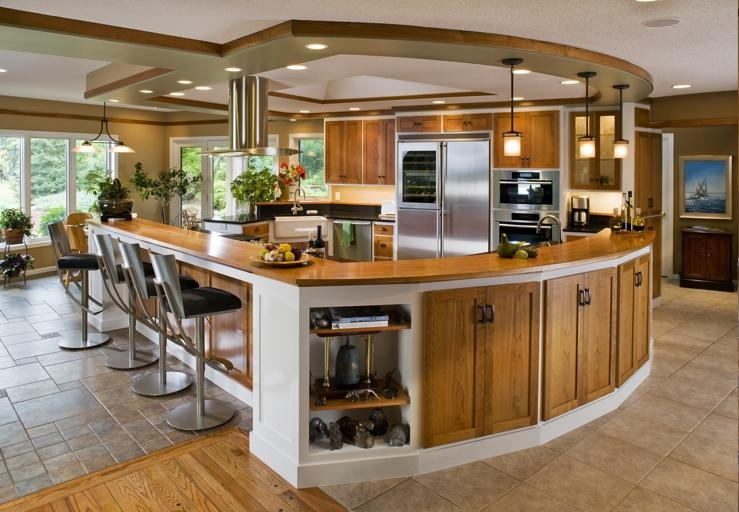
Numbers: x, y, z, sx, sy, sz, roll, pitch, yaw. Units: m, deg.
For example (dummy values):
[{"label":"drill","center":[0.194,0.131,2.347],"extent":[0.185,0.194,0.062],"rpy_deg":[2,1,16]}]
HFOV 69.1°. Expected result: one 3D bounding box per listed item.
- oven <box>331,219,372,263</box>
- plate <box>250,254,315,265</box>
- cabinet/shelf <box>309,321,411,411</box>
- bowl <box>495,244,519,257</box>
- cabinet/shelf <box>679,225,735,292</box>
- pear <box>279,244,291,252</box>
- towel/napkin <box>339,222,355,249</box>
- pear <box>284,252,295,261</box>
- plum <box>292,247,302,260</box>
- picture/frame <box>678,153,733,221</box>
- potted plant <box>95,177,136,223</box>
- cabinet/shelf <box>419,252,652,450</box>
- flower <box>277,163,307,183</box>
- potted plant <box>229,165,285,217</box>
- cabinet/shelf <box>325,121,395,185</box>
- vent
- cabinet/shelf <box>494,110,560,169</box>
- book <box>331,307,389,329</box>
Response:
[{"label":"oven","center":[-0.252,-0.282,9.217],"extent":[0.749,0.611,0.560],"rpy_deg":[5,13,20]},{"label":"plate","center":[-0.671,0.036,4.180],"extent":[0.477,0.079,0.239],"rpy_deg":[-2,8,-12]},{"label":"cabinet/shelf","center":[-0.238,0.784,4.181],"extent":[0.729,0.490,0.520],"rpy_deg":[3,-5,-4]},{"label":"bowl","center":[1.135,-0.049,4.441],"extent":[0.169,0.139,0.104],"rpy_deg":[-3,6,10]},{"label":"cabinet/shelf","center":[5.331,0.056,8.494],"extent":[0.727,0.934,0.232],"rpy_deg":[7,13,37]},{"label":"pear","center":[-0.648,-0.060,4.133],"extent":[0.092,0.056,0.096],"rpy_deg":[-1,9,-7]},{"label":"towel/napkin","center":[-0.364,-0.359,9.001],"extent":[0.209,0.420,0.115],"rpy_deg":[0,10,0]},{"label":"pear","center":[-0.611,0.004,4.084],"extent":[0.069,0.059,0.067],"rpy_deg":[-6,5,-32]},{"label":"plum","center":[-0.566,-0.015,4.196],"extent":[0.092,0.069,0.069],"rpy_deg":[-10,10,-42]},{"label":"picture/frame","center":[5.398,-1.102,8.634],"extent":[0.780,1.013,0.142],"rpy_deg":[6,12,33]},{"label":"potted plant","center":[-3.346,-0.769,6.991],"extent":[0.541,0.538,0.469],"rpy_deg":[3,13,1]},{"label":"cabinet/shelf","center":[1.251,0.766,4.228],"extent":[1.794,0.741,0.307],"rpy_deg":[-2,3,-33]},{"label":"flower","center":[-1.297,-1.312,8.696],"extent":[0.561,0.337,0.523],"rpy_deg":[-2,7,-29]},{"label":"potted plant","center":[-1.672,-0.996,8.366],"extent":[0.933,0.824,0.944],"rpy_deg":[4,6,38]},{"label":"cabinet/shelf","center":[-0.120,-1.772,9.077],"extent":[1.395,0.868,0.471],"rpy_deg":[1,1,26]},{"label":"vent","center":[-1.433,-1.564,5.908],"extent":[1.041,0.789,1.000],"rpy_deg":[0,16,0]},{"label":"cabinet/shelf","center":[2.390,-1.701,7.903],"extent":[0.448,0.826,1.061],"rpy_deg":[-20,22,-39]},{"label":"book","center":[-0.063,0.443,3.933],"extent":[0.421,0.121,0.242],"rpy_deg":[-1,8,-4]}]
